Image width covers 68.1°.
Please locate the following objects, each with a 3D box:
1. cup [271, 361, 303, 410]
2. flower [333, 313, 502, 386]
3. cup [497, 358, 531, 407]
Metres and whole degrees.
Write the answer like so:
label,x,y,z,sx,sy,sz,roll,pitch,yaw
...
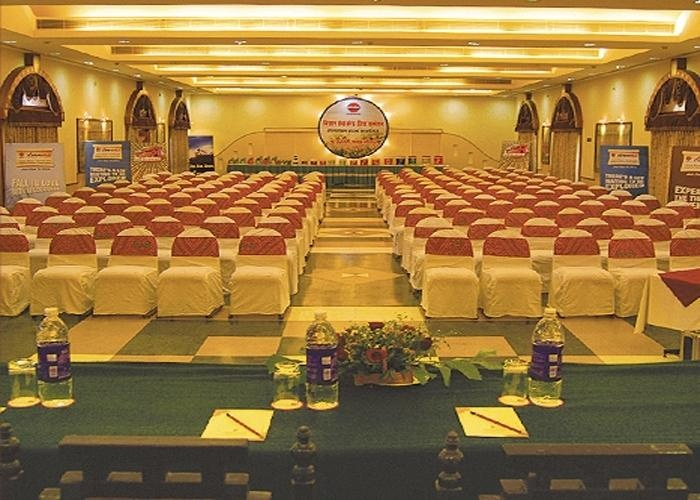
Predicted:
label,x,y,z,sx,sy,sz,roll,pitch,yaw
cup,-0.304,0.661,2.489,0.218,0.160,0.177,0,6,5
flower,0.308,0.518,2.712,0.657,0.197,0.415,0,0,-2
cup,0.781,0.650,2.586,0.206,0.227,0.251,-1,4,12
